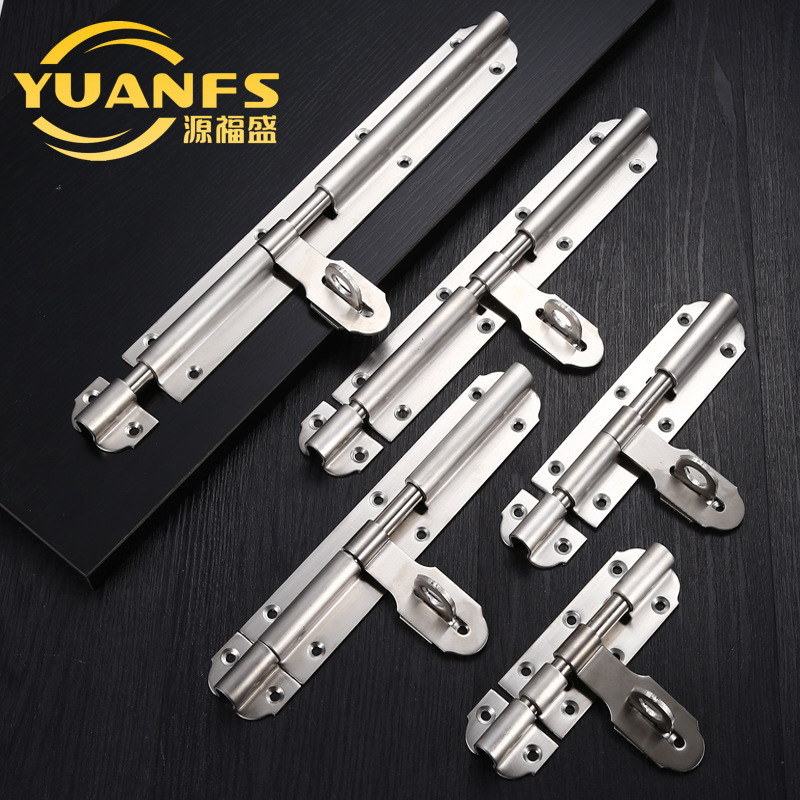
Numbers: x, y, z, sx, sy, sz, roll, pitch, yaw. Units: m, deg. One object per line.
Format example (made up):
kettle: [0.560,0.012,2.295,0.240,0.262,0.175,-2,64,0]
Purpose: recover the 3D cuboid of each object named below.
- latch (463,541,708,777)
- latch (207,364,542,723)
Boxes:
latch: [0.197,0.280,0.941,0.171,0.051,0.242,39,76,24]
latch: [0.024,0.158,0.992,0.236,0.067,0.529,23,53,35]
